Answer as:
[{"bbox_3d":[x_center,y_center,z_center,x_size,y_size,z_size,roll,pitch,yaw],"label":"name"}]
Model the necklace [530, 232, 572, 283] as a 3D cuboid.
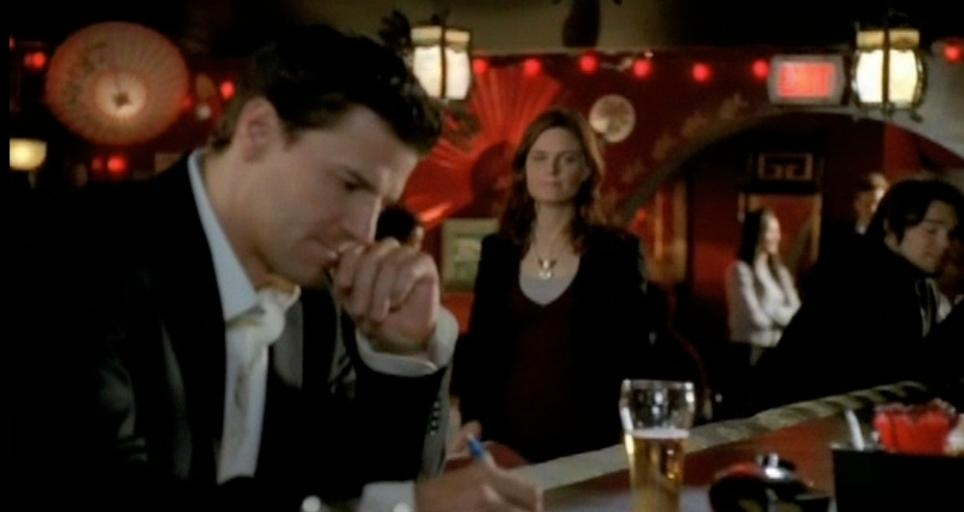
[{"bbox_3d":[0.229,0.012,2.794,0.120,0.129,0.063,3,4,-10],"label":"necklace"}]
